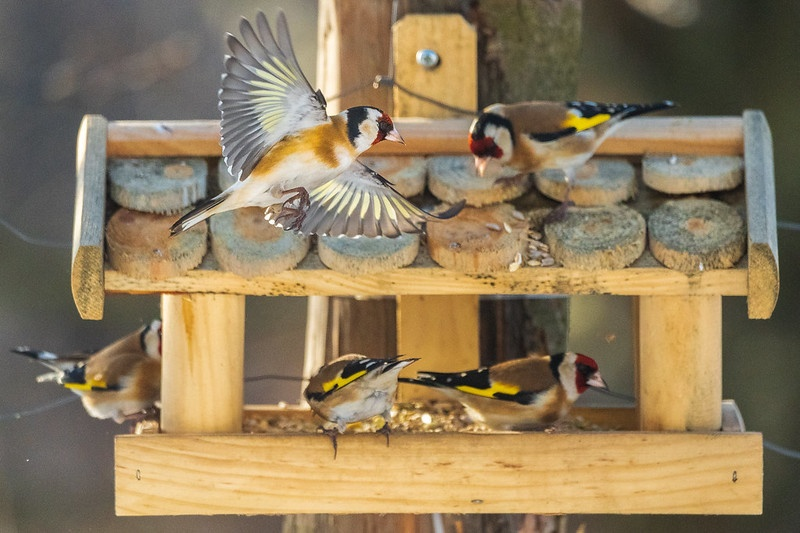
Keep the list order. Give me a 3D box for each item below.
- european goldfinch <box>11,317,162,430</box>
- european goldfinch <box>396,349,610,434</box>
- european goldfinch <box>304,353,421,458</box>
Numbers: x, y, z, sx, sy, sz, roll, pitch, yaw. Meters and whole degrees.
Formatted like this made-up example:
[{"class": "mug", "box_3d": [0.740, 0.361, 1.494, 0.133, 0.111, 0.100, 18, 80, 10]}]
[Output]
[{"class": "european goldfinch", "box_3d": [-1.855, 0.702, 8.546, 0.858, 0.774, 0.564, -1, 70, 1]}, {"class": "european goldfinch", "box_3d": [0.490, 0.698, 8.073, 1.364, 0.419, 0.567, 6, 84, -1]}, {"class": "european goldfinch", "box_3d": [-0.263, 0.687, 7.737, 0.341, 0.833, 0.350, 18, 32, -29]}]
